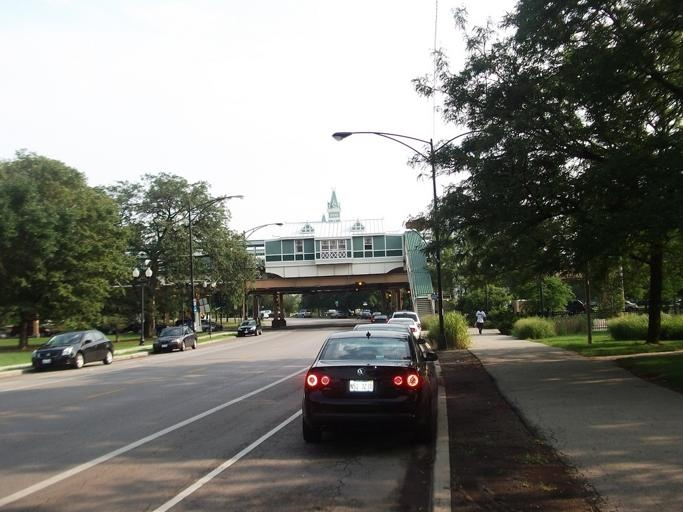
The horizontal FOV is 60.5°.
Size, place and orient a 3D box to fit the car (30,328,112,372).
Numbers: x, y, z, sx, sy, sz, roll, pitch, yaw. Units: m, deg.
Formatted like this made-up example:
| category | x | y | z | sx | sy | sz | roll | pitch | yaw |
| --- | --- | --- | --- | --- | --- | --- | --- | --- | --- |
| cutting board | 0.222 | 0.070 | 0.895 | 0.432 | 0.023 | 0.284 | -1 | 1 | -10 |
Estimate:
| category | x | y | z | sx | sy | sz | roll | pitch | yaw |
| --- | --- | --- | --- | --- | --- | --- | --- | --- | --- |
| car | -12.208 | 4.197 | 26.645 | 1.593 | 1.690 | 3.439 | -4 | -7 | 16 |

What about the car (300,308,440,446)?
| category | x | y | z | sx | sy | sz | roll | pitch | yaw |
| --- | --- | --- | --- | --- | --- | --- | --- | --- | --- |
| car | 0.593 | 2.369 | 11.003 | 2.136 | 2.118 | 2.447 | -4 | -6 | 15 |
